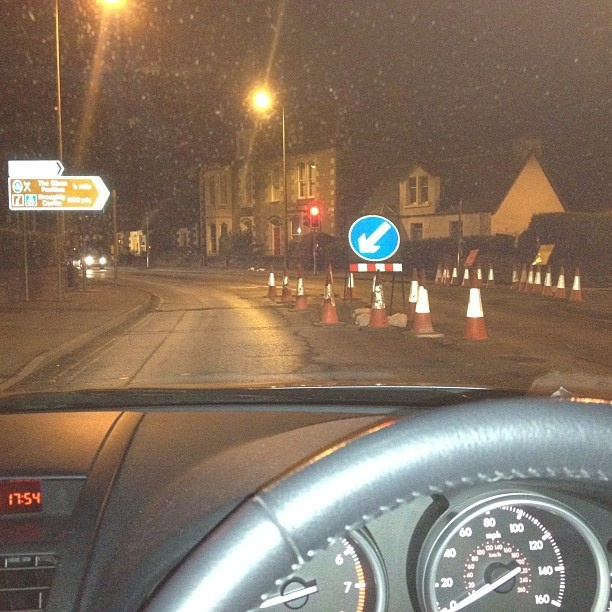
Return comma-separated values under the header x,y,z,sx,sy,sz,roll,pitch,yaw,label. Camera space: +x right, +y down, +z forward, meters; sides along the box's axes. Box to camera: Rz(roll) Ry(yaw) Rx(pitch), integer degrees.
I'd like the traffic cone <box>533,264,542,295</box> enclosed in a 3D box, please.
x,y,z,sx,sy,sz,roll,pitch,yaw,label
7.733,-0.901,22.817,0.274,0.856,0.800,2,9,20,traffic cone

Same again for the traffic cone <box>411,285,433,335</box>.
x,y,z,sx,sy,sz,roll,pitch,yaw,label
2.105,0.010,12.240,0.380,0.928,1.304,0,9,10,traffic cone

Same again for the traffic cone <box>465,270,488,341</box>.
x,y,z,sx,sy,sz,roll,pitch,yaw,label
2.769,-0.028,11.215,0.538,1.133,0.670,0,-3,9,traffic cone
